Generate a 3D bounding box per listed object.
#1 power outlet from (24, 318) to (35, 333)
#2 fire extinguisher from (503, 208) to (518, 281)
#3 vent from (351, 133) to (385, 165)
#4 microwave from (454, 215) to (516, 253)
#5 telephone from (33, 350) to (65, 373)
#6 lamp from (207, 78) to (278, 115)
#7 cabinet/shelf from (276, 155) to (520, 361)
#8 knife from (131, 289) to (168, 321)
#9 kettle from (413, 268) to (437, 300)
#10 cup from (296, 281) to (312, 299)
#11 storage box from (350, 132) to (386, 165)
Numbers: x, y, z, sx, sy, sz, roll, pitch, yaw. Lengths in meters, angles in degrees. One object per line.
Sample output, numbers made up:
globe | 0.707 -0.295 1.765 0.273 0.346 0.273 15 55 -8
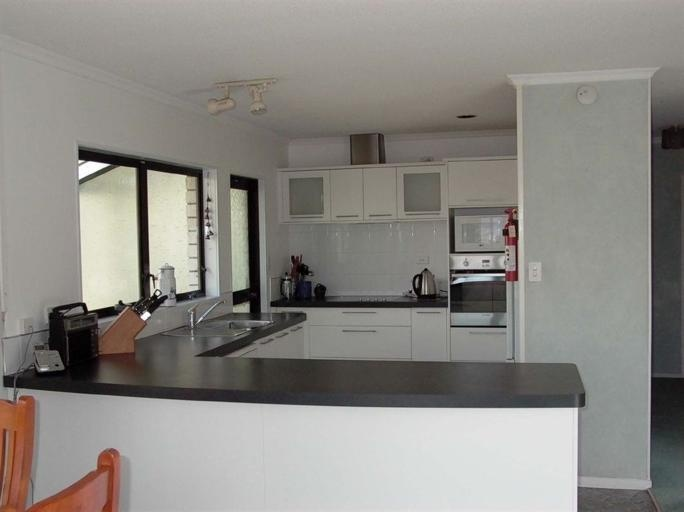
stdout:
power outlet | -1.825 0.411 3.478 0.027 0.086 0.084 -3 -3 12
fire extinguisher | 1.263 -0.089 4.481 0.099 0.519 0.486 0 10 15
vent | 0.257 -1.086 6.188 0.322 0.327 0.328 0 1 -9
microwave | 1.358 -0.211 5.936 0.529 0.371 0.301 0 5 6
telephone | -1.688 0.609 3.436 0.148 0.133 0.108 -8 11 -26
lamp | -0.695 -1.124 4.271 0.482 0.244 0.740 -4 10 -6
cabinet/shelf | 0.601 0.021 5.916 2.038 1.956 0.729 -1 -1 13
knife | -1.295 0.346 3.981 0.225 0.152 0.166 -6 10 -21
kettle | 0.830 0.302 6.053 0.317 0.319 0.196 -5 5 -38
cup | -0.399 0.370 6.310 0.170 0.191 0.169 2 -2 0
storage box | 0.262 -1.085 6.201 0.323 0.326 0.329 0 1 -9
